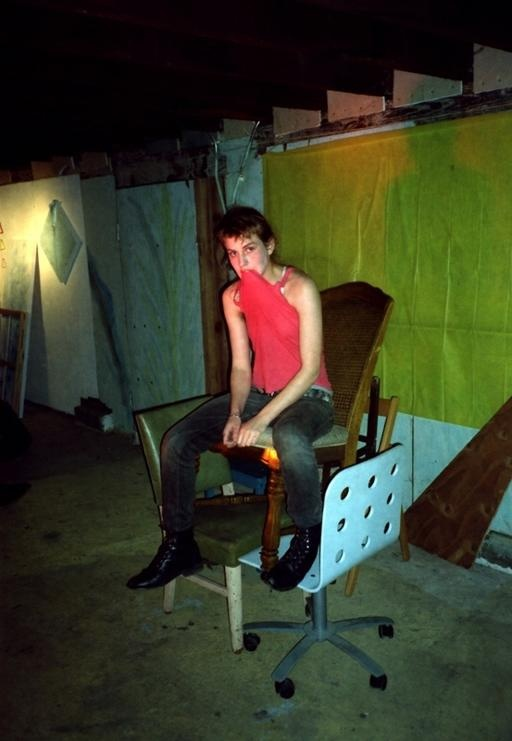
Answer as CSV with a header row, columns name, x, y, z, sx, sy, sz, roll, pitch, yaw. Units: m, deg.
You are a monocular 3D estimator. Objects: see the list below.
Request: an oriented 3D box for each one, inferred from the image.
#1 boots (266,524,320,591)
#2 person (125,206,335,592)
name,x,y,z,sx,sy,sz,roll,pitch,yaw
boots,0.120,0.652,2.121,0.222,0.212,0.191,-6,11,-22
person,-0.002,0.106,2.396,0.729,1.513,0.885,2,11,22
